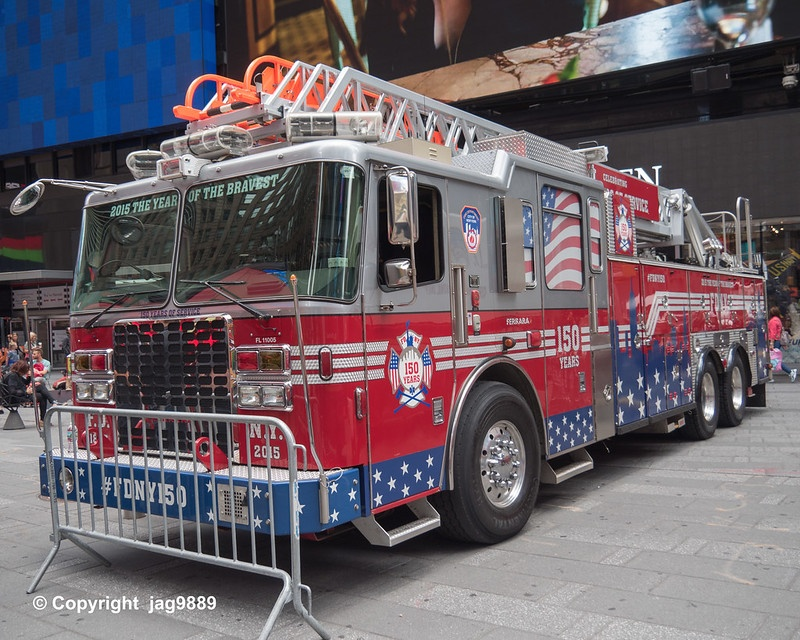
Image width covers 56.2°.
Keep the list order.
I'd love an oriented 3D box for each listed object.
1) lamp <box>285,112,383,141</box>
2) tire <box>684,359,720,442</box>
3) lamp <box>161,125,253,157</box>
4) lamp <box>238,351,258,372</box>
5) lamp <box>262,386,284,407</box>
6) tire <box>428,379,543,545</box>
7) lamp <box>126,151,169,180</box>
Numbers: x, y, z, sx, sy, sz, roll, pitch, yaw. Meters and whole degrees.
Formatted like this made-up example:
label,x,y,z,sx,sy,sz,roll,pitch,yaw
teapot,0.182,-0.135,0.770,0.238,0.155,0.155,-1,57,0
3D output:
label,x,y,z,sx,sy,sz,roll,pitch,yaw
lamp,-0.534,-1.579,6.119,0.780,0.244,0.153,-2,0,-9
tire,4.524,1.201,11.122,0.294,1.061,1.035,0,17,14
lamp,-1.659,-1.470,6.447,0.725,0.276,0.407,-5,11,27
lamp,-1.178,0.321,5.776,0.213,0.147,0.035,-3,0,38
lamp,-0.946,0.567,5.704,0.237,0.172,0.135,-1,-4,27
tire,0.716,1.288,6.679,0.420,1.153,1.117,-8,19,37
lamp,-2.487,-1.532,7.368,0.415,0.377,0.178,-6,17,-22
